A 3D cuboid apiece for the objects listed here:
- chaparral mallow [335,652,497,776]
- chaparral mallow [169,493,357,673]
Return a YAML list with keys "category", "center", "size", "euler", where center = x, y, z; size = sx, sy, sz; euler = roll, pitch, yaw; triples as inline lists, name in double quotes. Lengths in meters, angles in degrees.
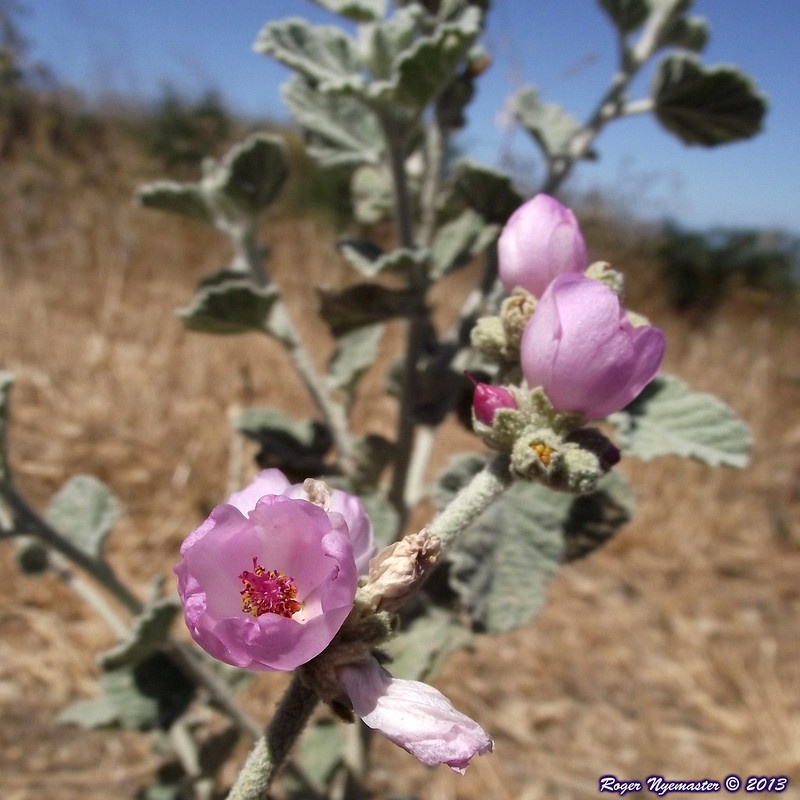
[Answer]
- category: "chaparral mallow"
  center: [-0.005, 0.271, 0.884]
  size: [0.141, 0.046, 0.075]
  euler: [27, 29, 21]
- category: "chaparral mallow"
  center: [-0.113, 0.164, 0.860]
  size: [0.172, 0.110, 0.152]
  euler: [11, 30, 18]
